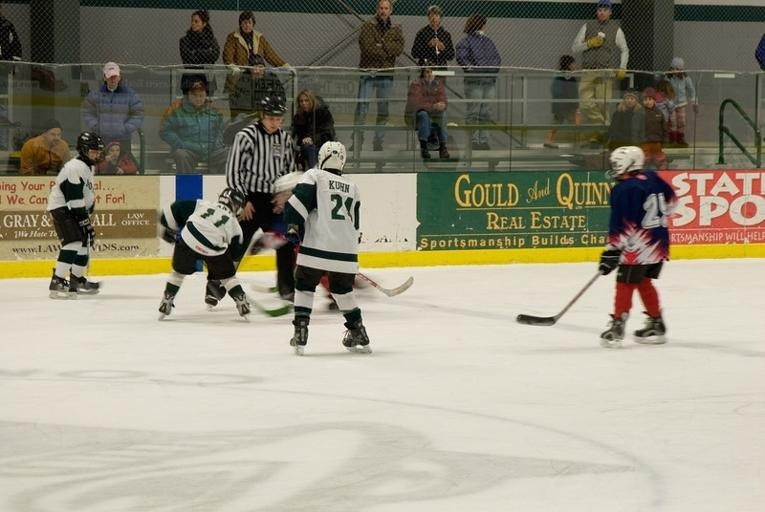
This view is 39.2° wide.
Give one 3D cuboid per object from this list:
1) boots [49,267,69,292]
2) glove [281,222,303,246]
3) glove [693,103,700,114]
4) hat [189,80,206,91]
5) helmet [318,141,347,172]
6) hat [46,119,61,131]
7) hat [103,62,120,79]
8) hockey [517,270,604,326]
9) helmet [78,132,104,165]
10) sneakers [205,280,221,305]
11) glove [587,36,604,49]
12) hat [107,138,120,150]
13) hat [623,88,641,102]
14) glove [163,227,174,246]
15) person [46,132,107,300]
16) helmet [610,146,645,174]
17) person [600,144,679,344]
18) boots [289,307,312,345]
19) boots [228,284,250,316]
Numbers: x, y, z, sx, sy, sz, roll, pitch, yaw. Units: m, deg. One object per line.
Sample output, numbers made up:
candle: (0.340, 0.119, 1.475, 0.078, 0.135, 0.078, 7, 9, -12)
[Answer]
boots: (-3.155, 0.258, 10.488, 0.192, 0.243, 0.208, -4, 14, -18)
glove: (-0.733, -0.170, 8.845, 0.128, 0.137, 0.357, 0, -7, -3)
glove: (3.654, -1.711, 12.517, 0.078, 0.121, 0.019, -5, 15, -22)
hat: (-1.945, -1.793, 11.363, 0.147, 0.122, 0.038, -2, -14, -8)
helmet: (-0.390, -0.796, 8.666, 0.208, 0.249, 0.268, 4, 3, -10)
hat: (-3.403, -1.352, 11.120, 0.111, 0.120, 0.132, -5, 18, -18)
hat: (-2.826, -1.936, 11.220, 0.131, 0.095, 0.175, -7, 31, -11)
hockey: (1.531, 0.359, 9.355, 0.302, 0.219, 1.271, 16, -36, -9)
helmet: (-2.845, -1.021, 10.452, 0.221, 0.316, 0.151, -4, 15, -19)
sneakers: (-1.564, 0.346, 9.924, 0.128, 0.214, 0.162, -1, 31, -3)
glove: (2.639, -2.653, 13.365, 0.208, 0.168, 0.076, 7, 15, 25)
hat: (-2.843, -1.167, 11.337, 0.100, 0.111, 0.119, 8, -4, -18)
hat: (2.876, -1.849, 12.399, 0.134, 0.115, 0.155, 2, 7, 5)
glove: (-1.901, -0.172, 9.642, 0.133, 0.114, 0.128, 0, 12, 2)
person: (-3.025, -0.396, 10.518, 0.605, 1.569, 0.433, -7, 16, -26)
helmet: (2.021, -0.778, 8.903, 0.271, 0.227, 0.204, 4, 4, 18)
person: (2.091, -0.058, 8.838, 0.564, 1.613, 0.578, 4, 15, 14)
boots: (-0.654, 0.562, 8.508, 0.157, 0.338, 0.203, -1, 14, -6)
boots: (-1.249, 0.396, 9.442, 0.118, 0.176, 0.263, -20, 45, 2)
